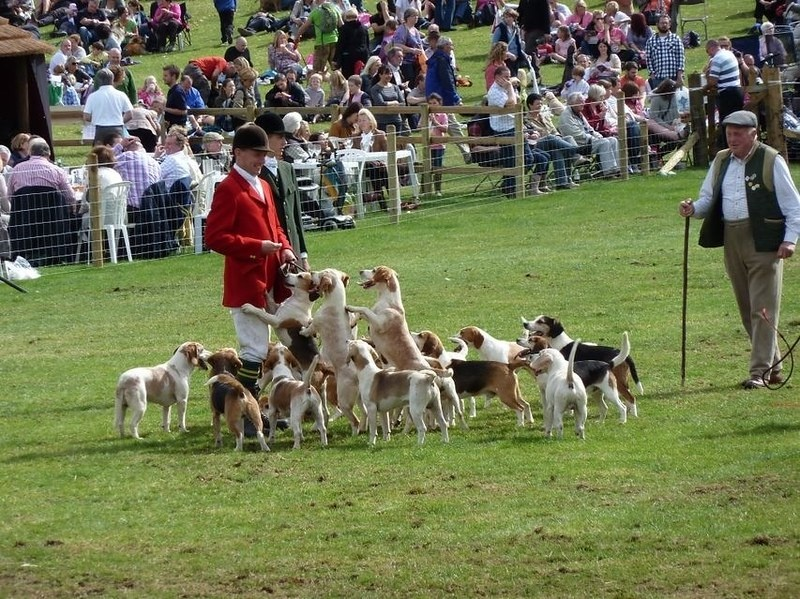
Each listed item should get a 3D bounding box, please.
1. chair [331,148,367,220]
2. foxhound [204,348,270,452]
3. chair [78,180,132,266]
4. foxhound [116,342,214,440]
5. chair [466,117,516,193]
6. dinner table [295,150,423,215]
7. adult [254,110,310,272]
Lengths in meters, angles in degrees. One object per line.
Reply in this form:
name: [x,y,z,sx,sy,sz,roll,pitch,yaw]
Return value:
chair: [-0.830,-2.107,33.988,0.557,0.958,0.767,-4,2,-6]
foxhound: [-2.154,1.307,24.177,0.486,1.152,1.679,-7,10,-16]
chair: [-5.039,-1.299,31.794,0.878,1.151,0.669,-5,2,-15]
foxhound: [-3.160,1.187,24.588,1.476,1.129,0.465,-8,9,-40]
chair: [1.795,-2.523,35.435,0.935,1.062,1.000,8,2,34]
dinner table: [-0.694,-2.304,34.073,1.512,0.673,1.552,11,16,43]
adult: [-1.498,-1.141,24.834,0.542,2.232,0.713,-14,12,-27]
